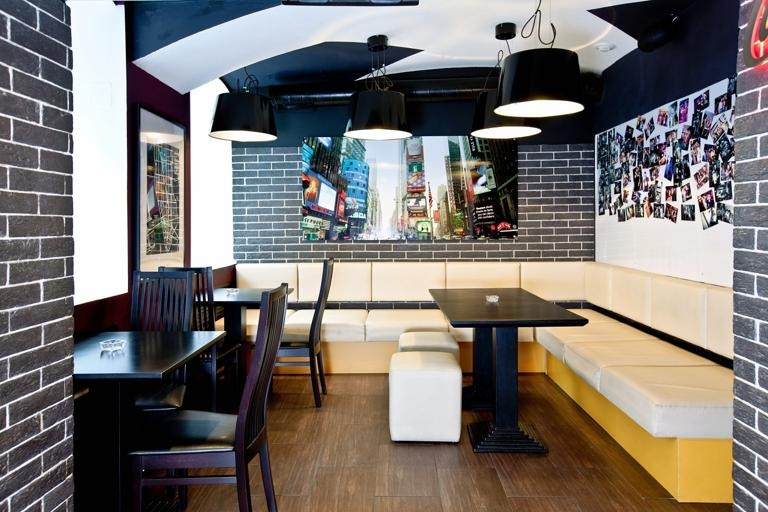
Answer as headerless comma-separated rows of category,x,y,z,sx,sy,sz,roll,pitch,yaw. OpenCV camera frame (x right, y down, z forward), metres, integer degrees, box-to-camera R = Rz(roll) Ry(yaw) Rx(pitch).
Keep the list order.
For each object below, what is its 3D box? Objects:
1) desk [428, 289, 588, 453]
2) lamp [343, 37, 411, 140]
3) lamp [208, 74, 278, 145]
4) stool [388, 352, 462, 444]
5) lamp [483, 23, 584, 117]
desk,1.090,1.057,4.932,1.016,0.991,2.032,1,-7,8
lamp,-0.083,-1.682,5.513,0.610,0.986,1.663,-1,10,-2
lamp,-1.223,-1.423,4.923,0.490,0.494,0.469,13,20,11
stool,0.282,1.126,4.415,0.616,0.606,0.633,0,-2,-2
lamp,1.108,-1.232,3.933,0.636,0.676,0.631,-1,3,-8
